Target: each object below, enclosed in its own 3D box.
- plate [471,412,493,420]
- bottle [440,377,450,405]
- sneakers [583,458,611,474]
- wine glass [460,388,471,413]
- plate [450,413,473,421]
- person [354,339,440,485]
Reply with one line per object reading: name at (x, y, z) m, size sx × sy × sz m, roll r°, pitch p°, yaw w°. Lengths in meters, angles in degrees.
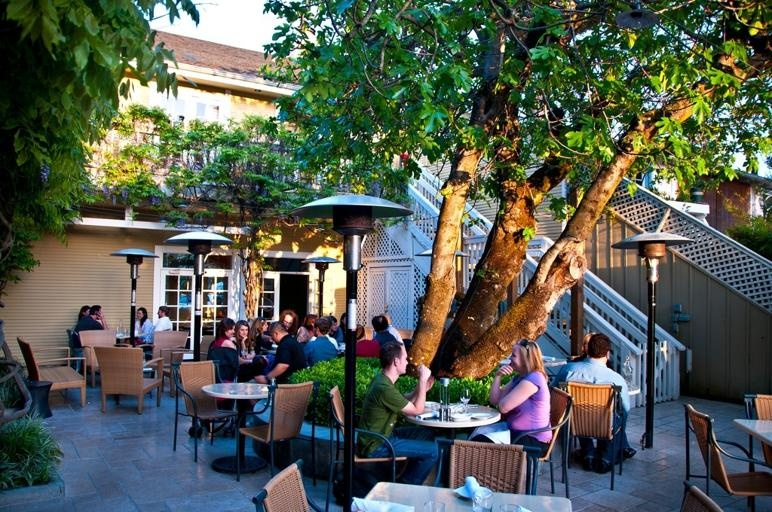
plate at (1.299, 2.166, 10.366) m, size 0.258 × 0.058 × 0.329 m, roll 3°, pitch -5°, yaw 13°
bottle at (0.787, 1.815, 10.261) m, size 0.102 × 0.362 × 0.170 m, roll 3°, pitch -4°, yaw 7°
sneakers at (3.184, 3.155, 11.543) m, size 0.277 × 0.119 × 0.211 m, roll 0°, pitch 2°, yaw -2°
wine glass at (1.115, 2.001, 10.699) m, size 0.100 × 0.310 × 0.441 m, roll 3°, pitch -4°, yaw 9°
plate at (0.996, 2.152, 10.189) m, size 0.280 × 0.072 × 0.219 m, roll 4°, pitch -5°, yaw 1°
person at (0.149, 2.096, 10.392) m, size 1.059 × 1.846 × 0.764 m, roll 5°, pitch -4°, yaw -16°
